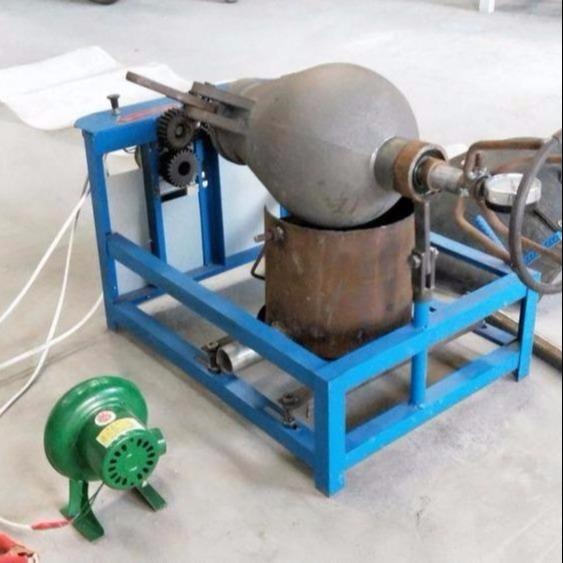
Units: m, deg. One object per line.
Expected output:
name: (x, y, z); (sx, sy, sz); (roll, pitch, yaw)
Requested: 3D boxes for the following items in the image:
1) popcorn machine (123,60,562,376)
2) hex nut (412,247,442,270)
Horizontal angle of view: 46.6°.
popcorn machine: (0.147, -0.310, 1.725); (0.405, 0.592, 1.319); (-29, 43, -36)
hex nut: (0.385, -0.064, 1.729); (0.034, 0.058, 0.061); (22, 38, 37)
